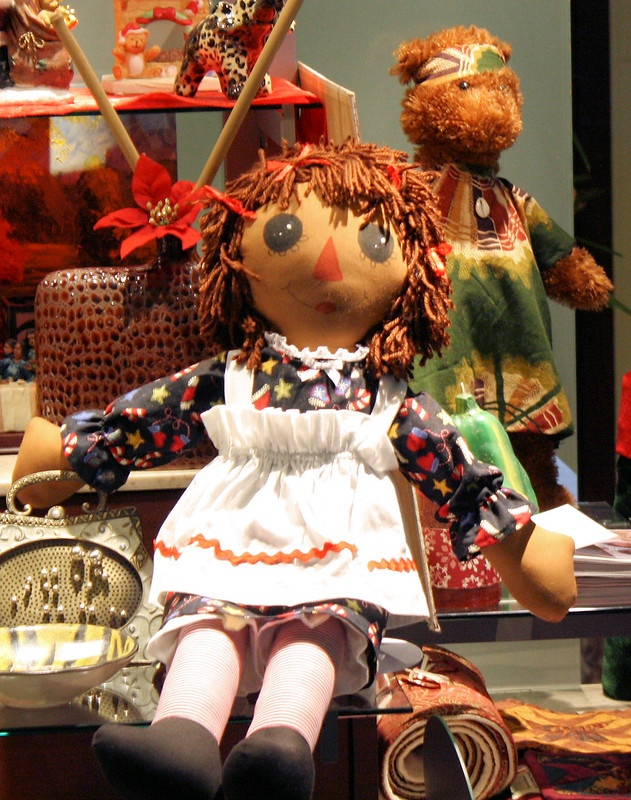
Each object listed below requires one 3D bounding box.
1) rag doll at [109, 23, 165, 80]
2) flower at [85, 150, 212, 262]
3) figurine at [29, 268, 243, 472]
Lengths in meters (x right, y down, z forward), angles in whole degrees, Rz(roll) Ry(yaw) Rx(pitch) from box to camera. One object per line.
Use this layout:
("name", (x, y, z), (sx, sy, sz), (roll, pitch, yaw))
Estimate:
("rag doll", (-0.251, -0.489, 1.132), (0.071, 0.070, 0.048), (-1, 28, -14))
("flower", (-0.168, -0.217, 0.852), (0.120, 0.037, 0.101), (19, 24, 8))
("figurine", (-0.173, -0.030, 0.800), (0.252, 0.209, 0.120), (0, 5, 10))
